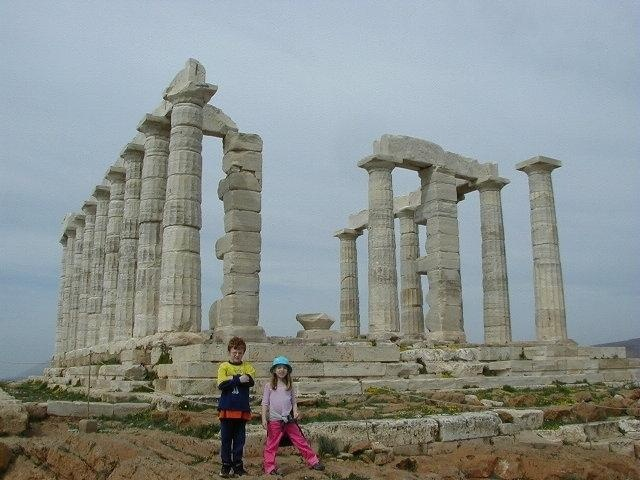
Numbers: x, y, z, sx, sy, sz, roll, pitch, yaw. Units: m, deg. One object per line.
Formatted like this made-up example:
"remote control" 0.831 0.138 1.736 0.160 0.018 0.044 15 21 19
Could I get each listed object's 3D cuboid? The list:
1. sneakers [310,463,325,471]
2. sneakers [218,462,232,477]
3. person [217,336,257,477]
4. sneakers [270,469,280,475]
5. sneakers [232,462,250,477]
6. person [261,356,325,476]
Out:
"sneakers" -0.035 3.279 8.661 0.088 0.096 0.215 6 -12 -40
"sneakers" -1.311 3.175 8.265 0.161 0.160 0.231 -8 -6 -8
"person" -1.214 2.360 8.557 0.655 1.879 0.560 -8 -6 -10
"sneakers" -0.648 3.277 8.452 0.056 0.089 0.162 7 -10 -36
"sneakers" -1.134 3.217 8.371 0.197 0.171 0.310 -9 -6 -1
"person" -0.519 2.535 8.641 0.807 1.674 0.423 -8 -6 -8
